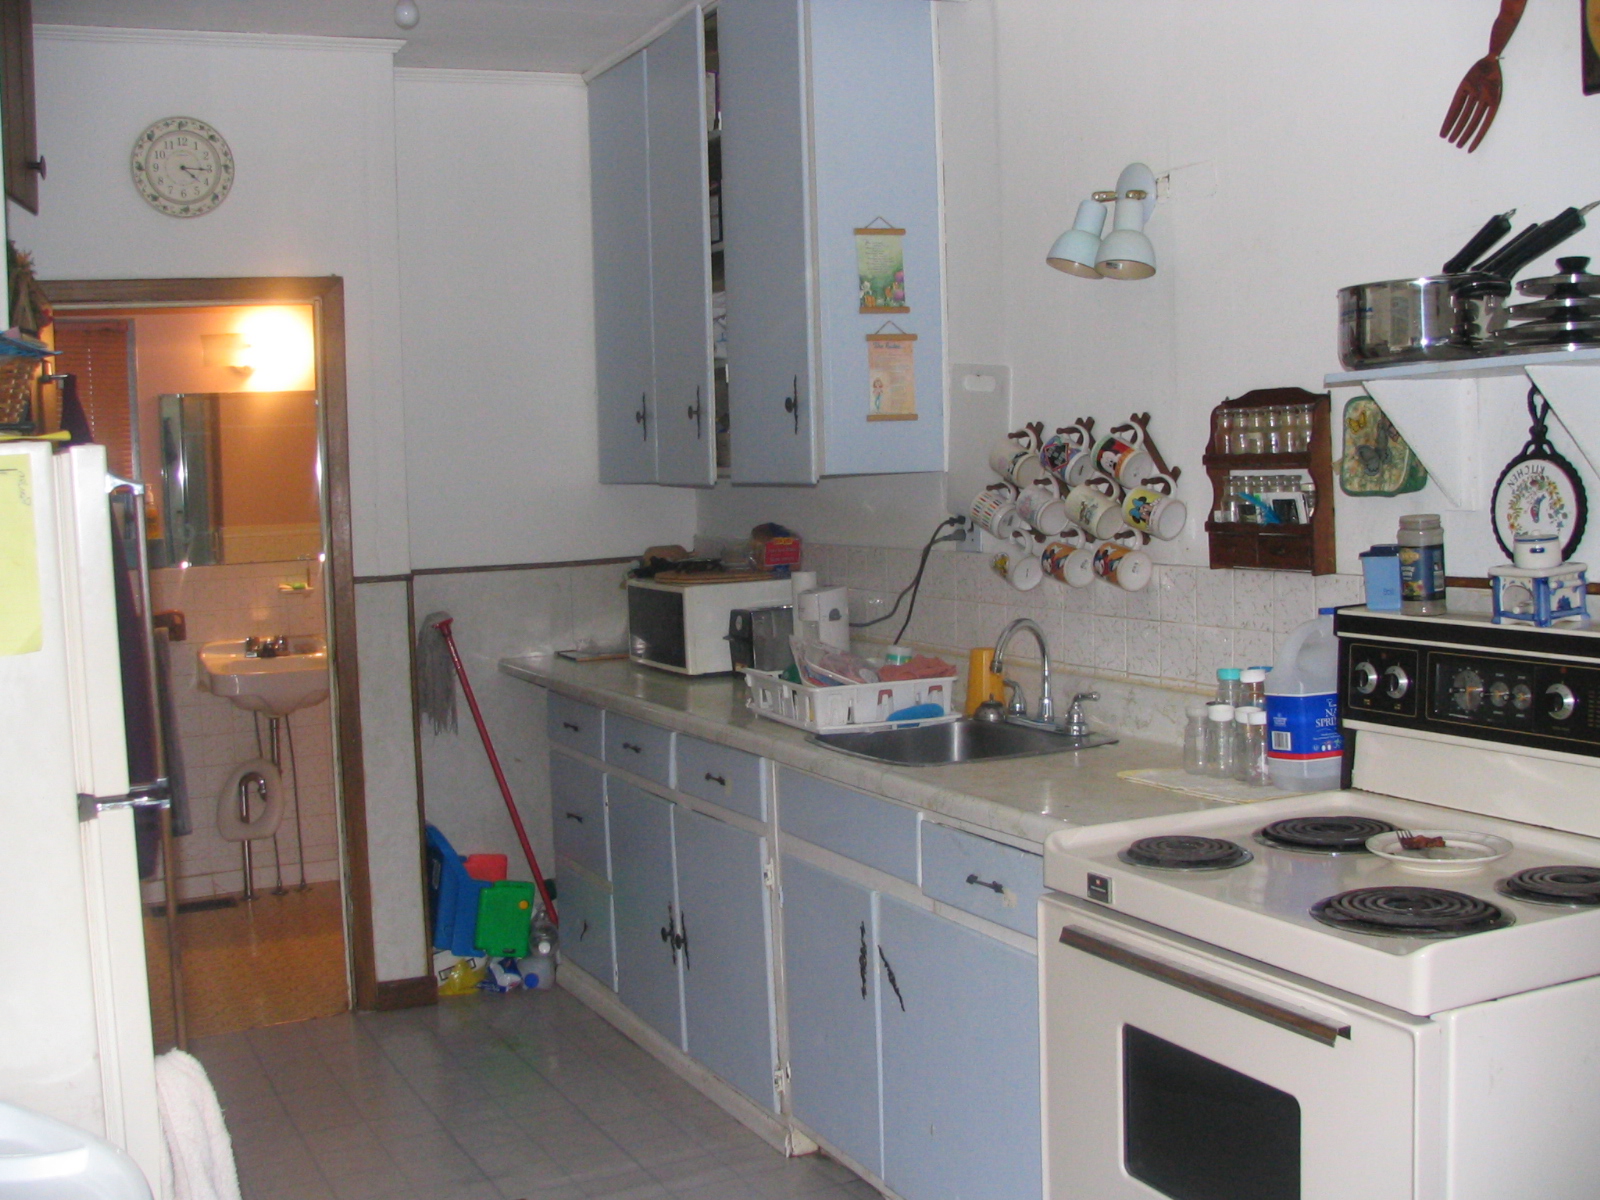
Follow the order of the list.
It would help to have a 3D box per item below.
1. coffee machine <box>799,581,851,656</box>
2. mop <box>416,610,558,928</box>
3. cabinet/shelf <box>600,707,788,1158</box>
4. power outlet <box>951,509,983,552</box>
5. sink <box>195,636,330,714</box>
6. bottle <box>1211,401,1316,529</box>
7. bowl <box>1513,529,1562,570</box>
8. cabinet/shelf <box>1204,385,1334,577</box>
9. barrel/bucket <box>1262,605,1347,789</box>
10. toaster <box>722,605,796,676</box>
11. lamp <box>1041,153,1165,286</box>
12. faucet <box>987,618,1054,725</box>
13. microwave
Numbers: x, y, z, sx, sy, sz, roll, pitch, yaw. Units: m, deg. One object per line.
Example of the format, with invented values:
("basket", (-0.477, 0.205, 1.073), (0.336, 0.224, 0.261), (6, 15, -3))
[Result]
("coffee machine", (0.082, 0.063, 4.146), (0.184, 0.188, 0.133), (-7, 10, -16))
("mop", (-1.214, 0.461, 4.921), (0.336, 1.556, 0.171), (-13, 11, 17))
("cabinet/shelf", (-0.200, 0.929, 3.803), (0.408, 1.002, 0.698), (-2, 5, -23))
("power outlet", (0.467, -0.197, 3.744), (0.063, 0.111, 0.112), (4, 12, 21))
("sink", (-2.147, 0.316, 5.199), (0.496, 0.216, 0.350), (-2, 10, -25))
("bottle", (1.033, -0.297, 2.888), (0.085, 0.323, 0.267), (-2, 2, -36))
("bowl", (1.330, -0.087, 2.340), (0.086, 0.069, 0.091), (-3, 4, 0))
("cabinet/shelf", (1.035, -0.261, 2.888), (0.077, 0.396, 0.305), (-10, 11, -34))
("barrel/bucket", (1.046, 0.208, 2.720), (0.139, 0.327, 0.246), (-1, 10, 20))
("toaster", (-0.121, 0.148, 4.114), (0.224, 0.198, 0.411), (-5, 10, -3))
("lamp", (0.718, -0.870, 3.033), (0.226, 0.253, 0.216), (3, 12, 38))
("faucet", (0.581, 0.177, 3.414), (0.148, 0.292, 0.427), (-3, 10, 11))
("microwave", (-0.307, 0.035, 4.490), (0.417, 0.385, 0.476), (-1, 6, -33))
